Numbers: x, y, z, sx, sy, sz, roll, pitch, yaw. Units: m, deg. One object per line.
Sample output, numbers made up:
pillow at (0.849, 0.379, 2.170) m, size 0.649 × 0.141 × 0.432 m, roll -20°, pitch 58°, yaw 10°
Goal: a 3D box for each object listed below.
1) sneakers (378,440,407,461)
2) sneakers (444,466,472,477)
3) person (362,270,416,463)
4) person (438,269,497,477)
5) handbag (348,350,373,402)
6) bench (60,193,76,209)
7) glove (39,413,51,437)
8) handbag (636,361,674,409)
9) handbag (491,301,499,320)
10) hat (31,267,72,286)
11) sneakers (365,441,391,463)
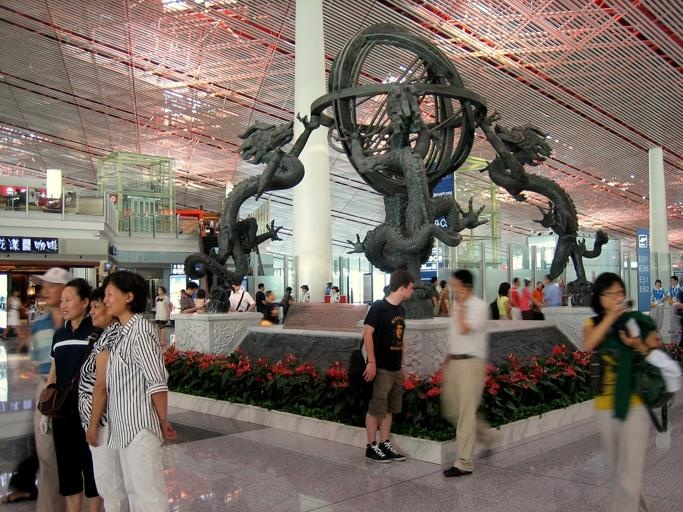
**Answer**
sneakers at (0.473, 1.947, 5.115) m, size 0.133 × 0.147 × 0.366 m, roll 4°, pitch -8°, yaw -41°
sneakers at (1.048, 1.940, 4.603) m, size 0.241 × 0.055 × 0.091 m, roll 2°, pitch -2°, yaw -12°
person at (0.437, 1.087, 5.066) m, size 0.539 × 1.808 × 0.479 m, roll -2°, pitch 0°, yaw -11°
person at (1.121, 1.064, 4.619) m, size 0.445 × 1.748 × 0.578 m, roll -2°, pitch 0°, yaw 15°
handbag at (0.184, 1.162, 4.949) m, size 0.214 × 0.495 × 0.248 m, roll -2°, pitch 0°, yaw 31°
bench at (-10.689, -2.175, 20.001) m, size 0.541 × 0.753 × 0.109 m, roll -2°, pitch 0°, yaw -36°
glove at (-2.067, 1.181, 3.554) m, size 0.062 × 0.154 × 0.127 m, roll -8°, pitch 7°, yaw -34°
handbag at (1.959, 0.795, 3.162) m, size 0.247 × 0.273 × 0.126 m, roll -2°, pitch 0°, yaw -27°
handbag at (3.440, 1.223, 11.483) m, size 0.139 × 0.339 × 0.264 m, roll 2°, pitch 11°, yaw -5°
hat at (-2.118, 0.149, 3.756) m, size 0.381 × 0.133 × 0.153 m, roll -1°, pitch 0°, yaw 25°
sneakers at (0.335, 1.939, 5.001) m, size 0.119 × 0.130 × 0.312 m, roll 3°, pitch -9°, yaw -37°
